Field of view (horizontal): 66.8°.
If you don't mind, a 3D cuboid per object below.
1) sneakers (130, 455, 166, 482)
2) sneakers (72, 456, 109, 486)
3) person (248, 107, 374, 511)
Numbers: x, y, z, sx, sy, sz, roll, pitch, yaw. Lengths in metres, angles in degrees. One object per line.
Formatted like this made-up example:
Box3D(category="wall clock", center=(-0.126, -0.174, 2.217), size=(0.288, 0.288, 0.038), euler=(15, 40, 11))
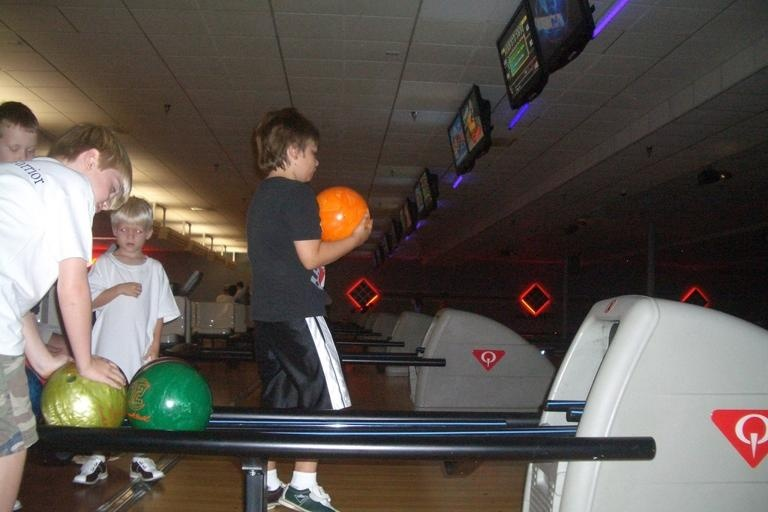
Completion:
Box3D(category="sneakers", center=(-1.169, 1.048, 2.870), size=(0.218, 0.077, 0.085), euler=(-1, -9, 27))
Box3D(category="sneakers", center=(-1.438, 1.047, 2.847), size=(0.086, 0.087, 0.205), euler=(0, -22, -2))
Box3D(category="person", center=(-0.384, 0.195, 2.440), size=(0.576, 1.773, 0.438), euler=(1, -7, 10))
